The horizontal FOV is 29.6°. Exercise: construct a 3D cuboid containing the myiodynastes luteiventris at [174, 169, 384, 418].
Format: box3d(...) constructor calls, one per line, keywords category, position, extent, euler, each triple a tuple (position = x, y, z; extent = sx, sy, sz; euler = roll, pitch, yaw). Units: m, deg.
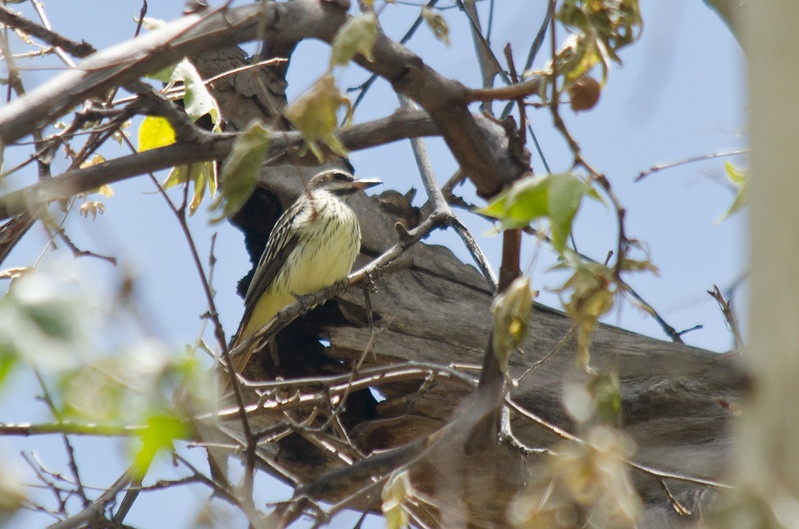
box3d(category="myiodynastes luteiventris", position=(-0.527, 0.006, 7.774), extent=(1.012, 0.924, 0.417), euler=(-13, -23, 33))
